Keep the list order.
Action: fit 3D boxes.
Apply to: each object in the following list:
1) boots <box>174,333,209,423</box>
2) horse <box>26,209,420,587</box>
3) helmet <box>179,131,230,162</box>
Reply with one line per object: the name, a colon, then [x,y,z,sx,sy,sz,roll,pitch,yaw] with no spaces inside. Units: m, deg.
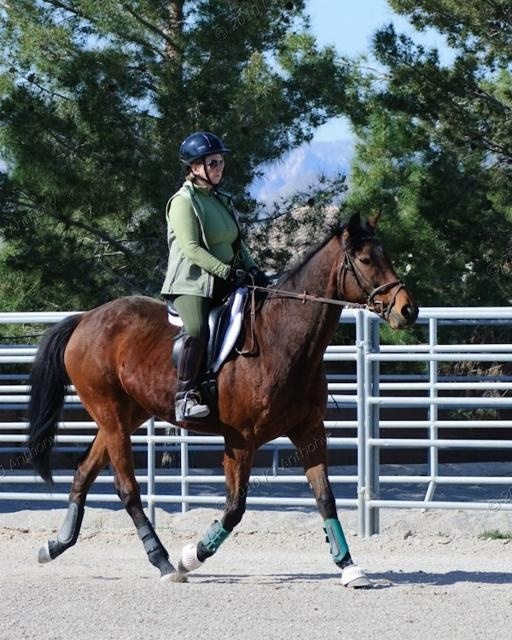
boots: [-0.435,0.428,8.566,0.230,0.613,0.297,1,4,-4]
horse: [-0.332,0.639,9.025,3.493,2.503,0.963,-4,-7,34]
helmet: [-0.390,-1.235,8.989,0.305,0.174,0.211,-10,6,25]
